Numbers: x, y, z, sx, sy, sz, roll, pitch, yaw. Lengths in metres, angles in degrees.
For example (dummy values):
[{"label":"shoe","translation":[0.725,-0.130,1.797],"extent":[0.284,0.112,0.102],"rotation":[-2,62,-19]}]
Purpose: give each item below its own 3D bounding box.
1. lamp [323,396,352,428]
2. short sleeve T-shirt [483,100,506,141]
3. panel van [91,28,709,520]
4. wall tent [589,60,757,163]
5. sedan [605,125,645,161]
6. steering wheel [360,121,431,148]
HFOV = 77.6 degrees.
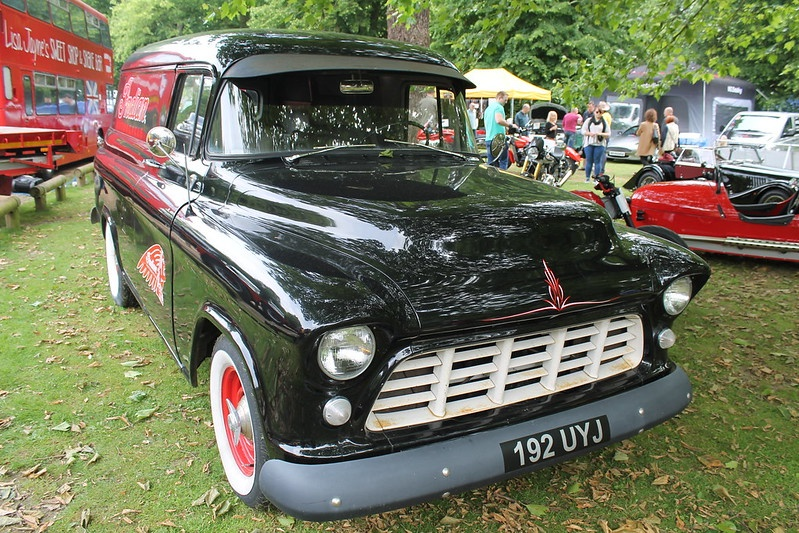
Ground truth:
[{"label":"lamp","translation":[-0.339,0.767,2.652],"extent":[0.143,0.132,0.071],"rotation":[31,-2,-17]},{"label":"short sleeve T-shirt","translation":[2.516,-3.735,12.978],"extent":[0.600,0.890,0.808],"rotation":[-6,14,-5]},{"label":"panel van","translation":[-0.846,-0.839,5.292],"extent":[3.810,2.614,6.484],"rotation":[-12,26,-36]},{"label":"wall tent","translation":[15.325,-8.380,25.807],"extent":[6.573,3.339,6.330],"rotation":[-14,19,-35]},{"label":"sedan","translation":[9.660,-5.179,21.551],"extent":[1.649,1.139,3.768],"rotation":[5,14,34]},{"label":"steering wheel","translation":[-0.010,-1.155,4.273],"extent":[0.539,0.254,0.235],"rotation":[-15,28,-28]}]
